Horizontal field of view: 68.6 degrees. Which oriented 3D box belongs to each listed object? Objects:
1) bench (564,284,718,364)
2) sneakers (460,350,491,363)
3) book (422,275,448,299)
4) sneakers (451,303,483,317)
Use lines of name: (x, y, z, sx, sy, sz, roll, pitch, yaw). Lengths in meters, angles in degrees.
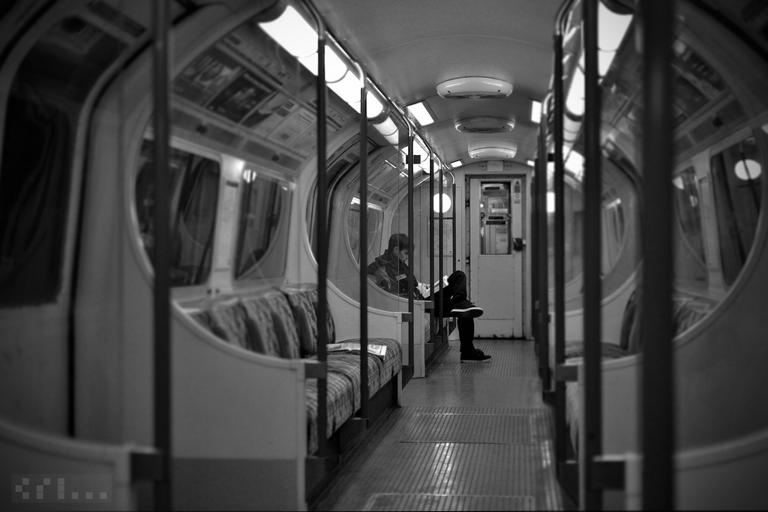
bench: (1.619, 0.391, 3.341, 0.381, 0.510, 0.726, 1, -1, 7)
sneakers: (1.560, 1.711, 9.732, 0.563, 0.238, 0.198, -1, -3, 5)
book: (0.820, 0.567, 9.775, 0.435, 0.138, 0.444, -17, 10, 44)
sneakers: (1.416, 0.917, 9.747, 0.555, 0.253, 0.243, -4, -10, 21)
